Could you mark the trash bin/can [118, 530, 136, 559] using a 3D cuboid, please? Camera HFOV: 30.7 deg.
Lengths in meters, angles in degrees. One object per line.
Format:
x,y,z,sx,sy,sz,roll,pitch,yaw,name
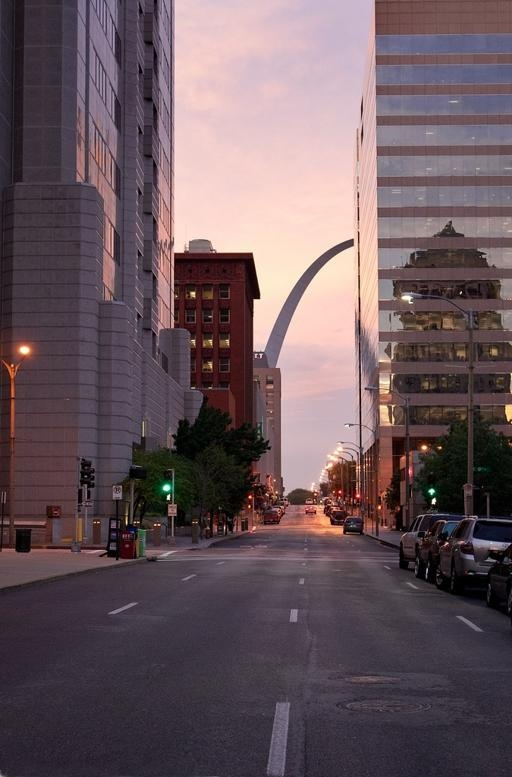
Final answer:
-5.220,6.334,37.893,0.677,1.140,0.854,1,-7,-11,trash bin/can
